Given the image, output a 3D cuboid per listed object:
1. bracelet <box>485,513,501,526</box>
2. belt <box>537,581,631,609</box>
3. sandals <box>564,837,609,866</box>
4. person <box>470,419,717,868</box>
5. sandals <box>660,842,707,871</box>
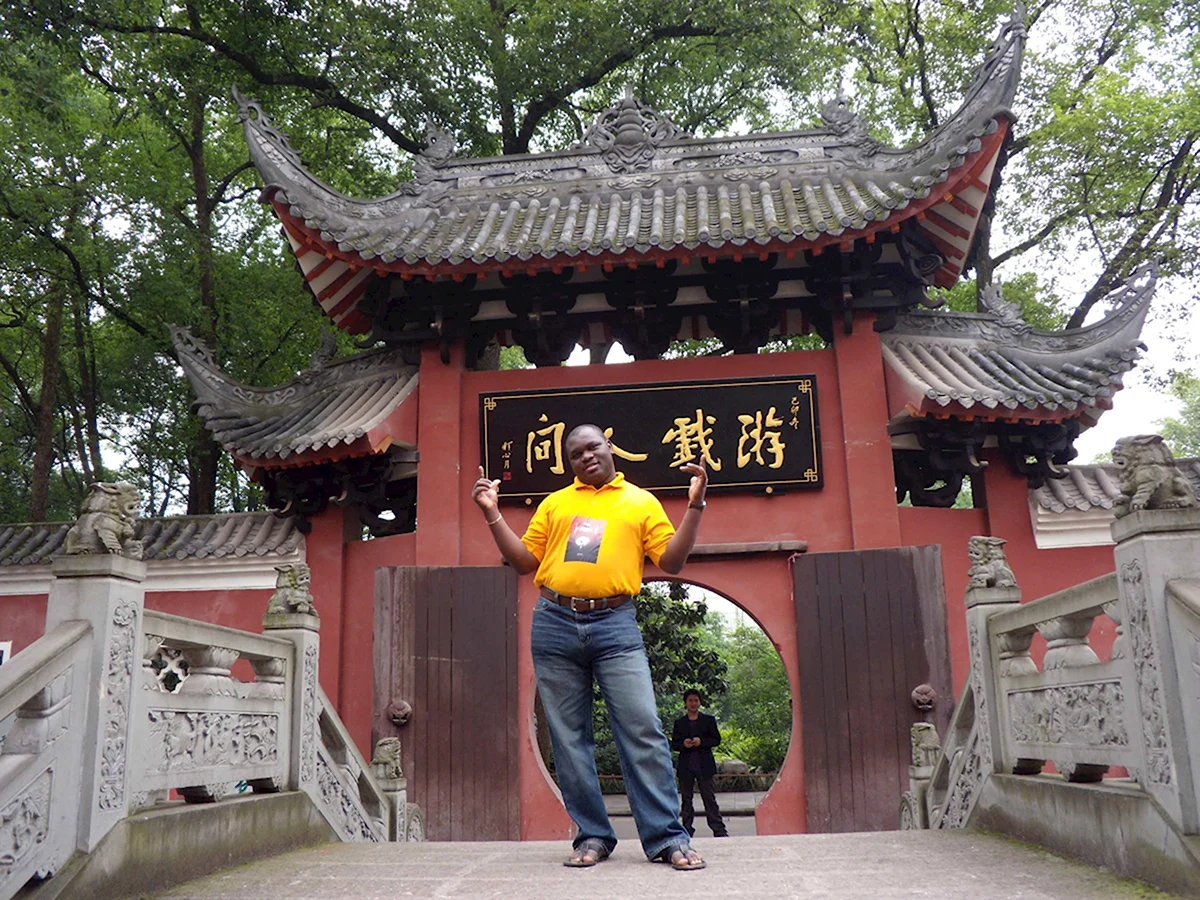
[{"bbox_3d":[-0.551,0.348,5.533,0.051,0.052,0.053,0,-3,-4],"label":"bracelet"},{"bbox_3d":[-0.074,0.765,5.539,0.461,0.117,0.171,0,-5,-5],"label":"belt"},{"bbox_3d":[-0.069,2.025,5.429,0.177,0.114,0.275,-2,-6,20],"label":"sandals"},{"bbox_3d":[-0.021,0.977,5.480,1.104,2.231,0.563,-1,-6,6],"label":"person"},{"bbox_3d":[0.412,2.002,5.246,0.087,0.118,0.289,6,-23,-15],"label":"sandals"}]
